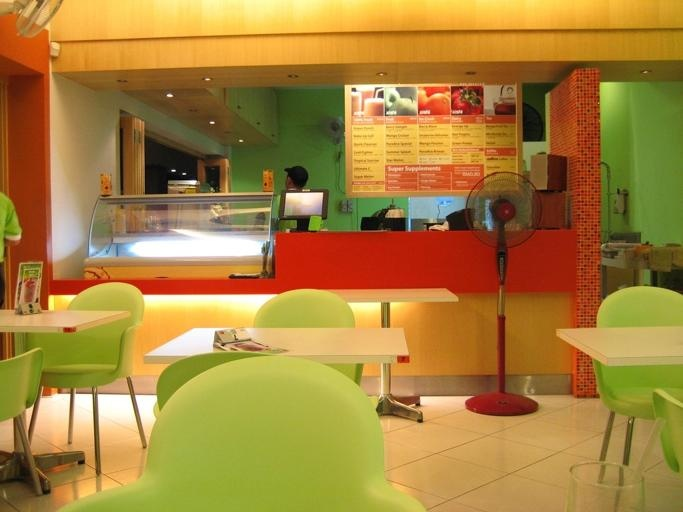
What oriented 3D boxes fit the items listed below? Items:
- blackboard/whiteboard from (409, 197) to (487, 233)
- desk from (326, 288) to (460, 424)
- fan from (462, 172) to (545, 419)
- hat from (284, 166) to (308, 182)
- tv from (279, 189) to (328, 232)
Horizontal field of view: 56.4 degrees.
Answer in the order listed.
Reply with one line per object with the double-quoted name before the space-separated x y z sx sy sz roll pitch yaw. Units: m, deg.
"blackboard/whiteboard" 1.289 -0.613 8.147 0.888 0.481 0.854 0 15 6
"desk" 0.394 0.741 5.084 0.993 0.914 0.996 0 -2 2
"fan" 1.268 0.286 5.027 0.577 1.868 0.463 1 8 10
"hat" -0.479 -0.841 6.563 0.179 0.140 0.245 -12 39 -38
"tv" -0.340 -0.417 5.723 0.493 0.469 0.193 0 0 4
